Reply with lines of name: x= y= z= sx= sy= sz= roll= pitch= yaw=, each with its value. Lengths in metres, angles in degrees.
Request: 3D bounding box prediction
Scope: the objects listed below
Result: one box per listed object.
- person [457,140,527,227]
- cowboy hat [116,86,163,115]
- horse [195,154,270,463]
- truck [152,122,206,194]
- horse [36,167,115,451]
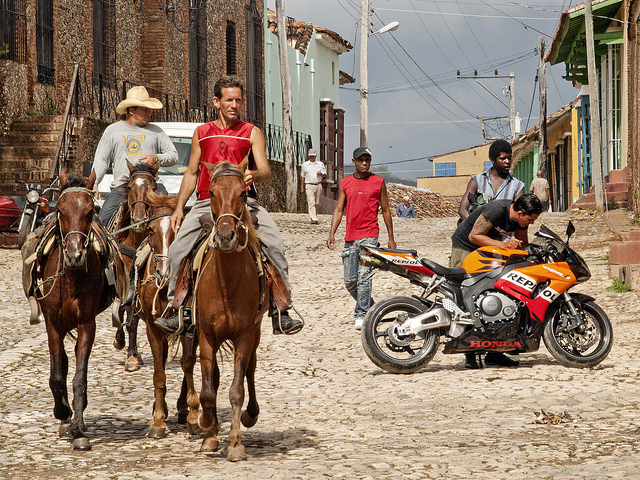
person: x=2.467 y=-0.665 z=17.643 sx=0.971 sy=1.421 sz=0.892 roll=6 pitch=3 yaw=8
cowboy hat: x=-2.634 y=-1.961 z=17.581 sx=0.540 sy=0.251 sz=0.405 roll=-9 pitch=-3 yaw=35
horse: x=-0.994 y=0.762 z=14.048 sx=0.745 sy=3.390 sz=1.036 roll=1 pitch=5 yaw=-1
truck: x=-2.606 y=-1.607 z=23.228 sx=1.113 sy=0.873 sz=1.773 roll=1 pitch=9 yaw=3
horse: x=-2.847 y=0.774 z=14.607 sx=0.845 sy=3.183 sz=1.313 roll=0 pitch=5 yaw=-9
